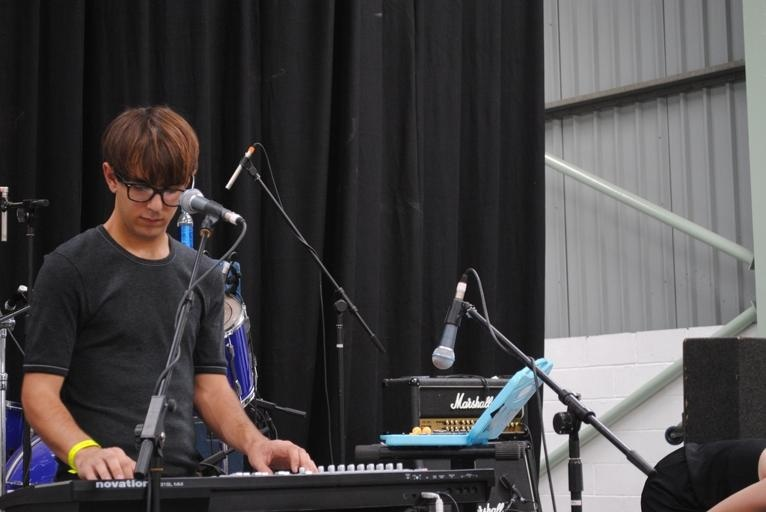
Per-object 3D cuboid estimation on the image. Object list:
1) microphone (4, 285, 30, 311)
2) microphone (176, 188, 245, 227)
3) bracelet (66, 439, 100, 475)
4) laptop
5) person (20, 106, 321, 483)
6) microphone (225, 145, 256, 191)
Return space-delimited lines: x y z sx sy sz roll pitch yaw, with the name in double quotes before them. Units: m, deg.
"microphone" -1.715 0.194 7.024 0.126 0.042 0.050 -36 11 11
"microphone" -0.705 -0.189 6.089 0.311 0.113 0.118 27 24 27
"bracelet" -1.197 0.762 5.967 0.146 0.112 0.057 -43 31 18
"laptop" 0.406 0.647 6.692 0.439 0.361 0.733 9 -14 -41
"person" -0.954 0.163 6.147 1.079 1.507 1.008 1 2 -40
"microphone" -0.711 -0.435 7.484 0.297 0.049 0.068 -42 10 32
